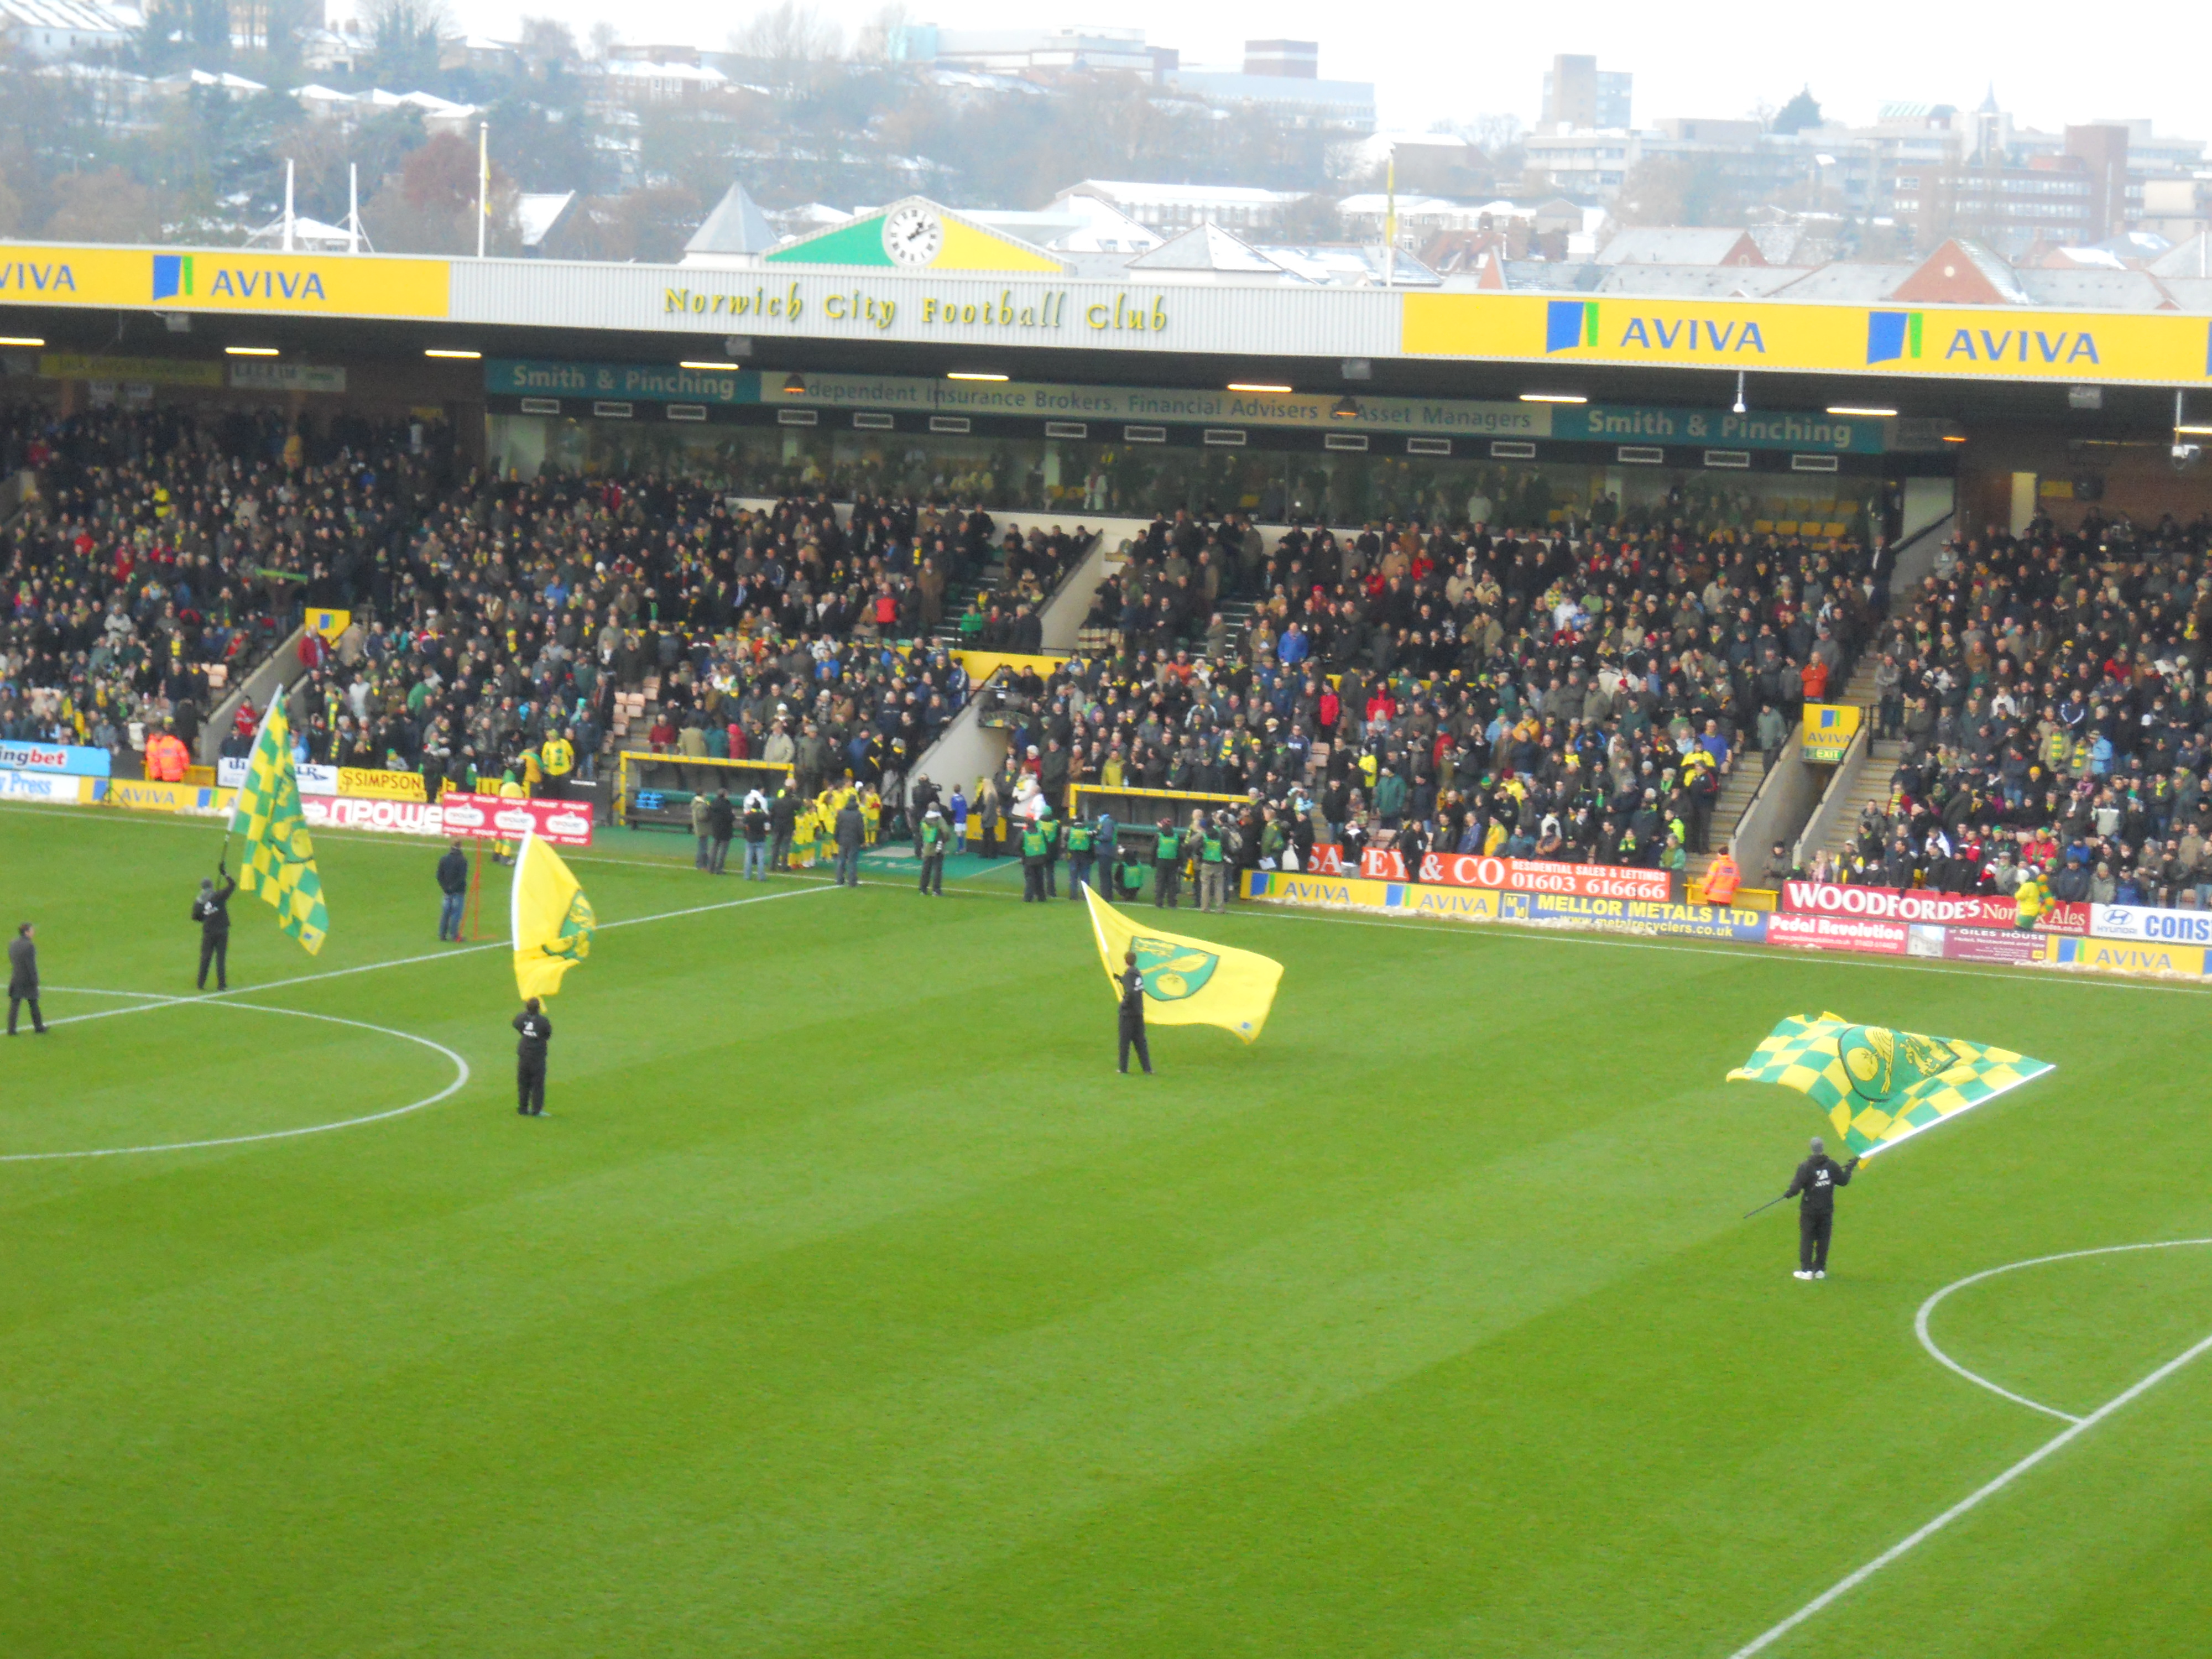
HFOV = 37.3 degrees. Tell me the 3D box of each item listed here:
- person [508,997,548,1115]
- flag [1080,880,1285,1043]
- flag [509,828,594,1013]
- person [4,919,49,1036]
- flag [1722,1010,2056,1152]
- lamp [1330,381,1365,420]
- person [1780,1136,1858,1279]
[{"bbox_3d":[-6.712,2.628,38.212,0.370,1.238,0.608,-2,13,-11],"label":"person"},{"bbox_3d":[0.979,1.821,44.565,1.789,2.400,0.236,-4,-20,-13],"label":"flag"},{"bbox_3d":[-6.910,1.040,40.413,0.770,1.835,2.014,0,13,-3],"label":"flag"},{"bbox_3d":[-13.609,1.746,41.138,0.452,1.491,1.275,-3,13,-19],"label":"person"},{"bbox_3d":[8.838,2.755,37.017,2.373,0.513,2.149,-13,20,-20],"label":"flag"},{"bbox_3d":[4.653,-8.198,63.671,0.493,0.482,0.511,4,8,21],"label":"lamp"},{"bbox_3d":[7.432,3.847,34.378,0.626,1.518,1.141,4,13,12],"label":"person"}]
